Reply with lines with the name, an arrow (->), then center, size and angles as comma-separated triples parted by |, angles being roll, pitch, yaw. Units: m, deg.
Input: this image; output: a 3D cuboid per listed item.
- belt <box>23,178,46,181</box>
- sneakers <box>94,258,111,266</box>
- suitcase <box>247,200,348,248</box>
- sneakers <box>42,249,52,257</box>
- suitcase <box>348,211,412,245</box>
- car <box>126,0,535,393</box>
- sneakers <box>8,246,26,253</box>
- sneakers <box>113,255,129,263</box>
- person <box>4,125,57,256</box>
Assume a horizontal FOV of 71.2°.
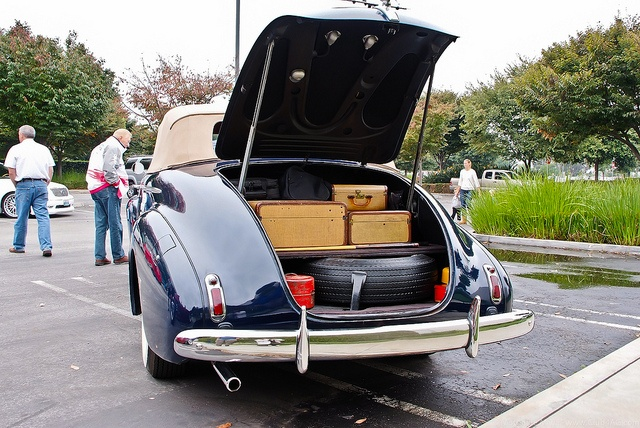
belt -> -5.634, -0.692, 8.817 | 0.366, 0.061, 0.081 | -5, 10, -32
sneakers -> -3.971, 0.852, 8.219 | 0.103, 0.118, 0.280 | 3, 7, 22
suitcase -> -0.294, 0.134, 4.564 | 0.923, 0.451, 0.644 | -1, -5, -27
sneakers -> -5.412, 0.759, 8.878 | 0.091, 0.103, 0.244 | -2, 5, -23
suitcase -> 0.751, 0.163, 4.805 | 0.710, 0.336, 0.535 | -3, -6, 35
car -> -0.362, -0.468, 4.990 | 2.725, 2.393, 4.340 | 0, 12, -21
sneakers -> -6.197, 0.691, 9.126 | 0.336, 0.142, 0.125 | 11, 11, 44
sneakers -> -3.658, 0.831, 8.262 | 0.282, 0.117, 0.119 | -6, 11, -25
person -> -5.741, -0.474, 8.907 | 0.807, 2.556, 1.013 | -7, 11, -41
